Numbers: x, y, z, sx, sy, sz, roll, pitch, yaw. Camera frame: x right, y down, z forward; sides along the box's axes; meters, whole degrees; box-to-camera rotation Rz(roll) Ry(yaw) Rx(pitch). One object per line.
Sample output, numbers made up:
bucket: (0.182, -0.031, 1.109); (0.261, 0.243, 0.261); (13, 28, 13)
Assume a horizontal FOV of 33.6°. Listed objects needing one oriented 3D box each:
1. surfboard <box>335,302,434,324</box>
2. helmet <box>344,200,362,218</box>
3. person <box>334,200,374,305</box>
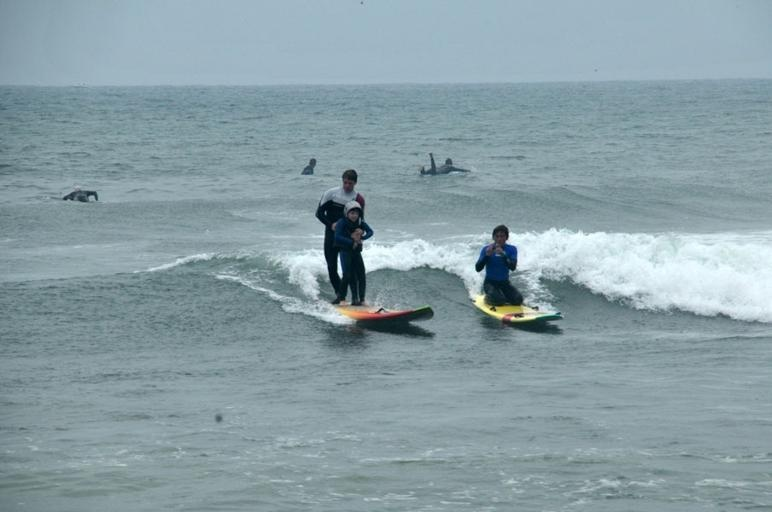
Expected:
surfboard: (-0.093, 1.474, 31.537); (2.634, 0.292, 0.766); (0, 2, 35)
helmet: (-0.823, -1.170, 31.707); (0.450, 0.352, 0.353); (-7, 16, -16)
person: (-0.858, -0.048, 31.896); (0.994, 2.630, 0.706); (-10, 18, -19)
